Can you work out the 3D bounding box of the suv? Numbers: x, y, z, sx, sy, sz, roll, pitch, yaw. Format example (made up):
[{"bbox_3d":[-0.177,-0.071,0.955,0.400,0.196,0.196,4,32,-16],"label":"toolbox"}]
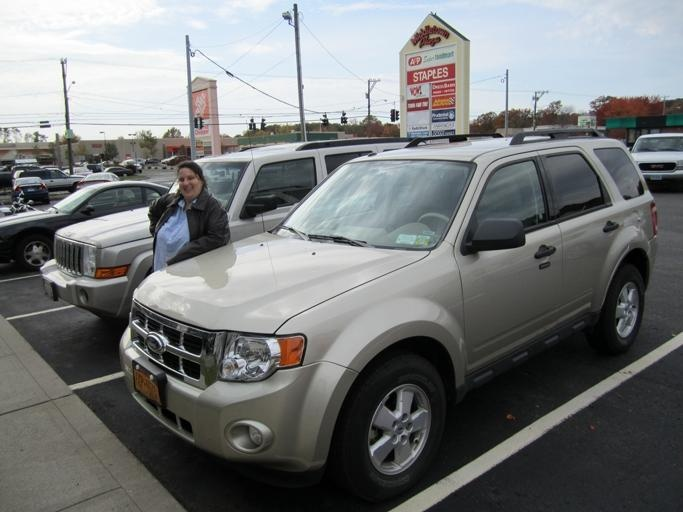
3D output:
[{"bbox_3d":[0.717,0.085,3.954,4.571,2.017,2.367,-7,9,-38],"label":"suv"}]
